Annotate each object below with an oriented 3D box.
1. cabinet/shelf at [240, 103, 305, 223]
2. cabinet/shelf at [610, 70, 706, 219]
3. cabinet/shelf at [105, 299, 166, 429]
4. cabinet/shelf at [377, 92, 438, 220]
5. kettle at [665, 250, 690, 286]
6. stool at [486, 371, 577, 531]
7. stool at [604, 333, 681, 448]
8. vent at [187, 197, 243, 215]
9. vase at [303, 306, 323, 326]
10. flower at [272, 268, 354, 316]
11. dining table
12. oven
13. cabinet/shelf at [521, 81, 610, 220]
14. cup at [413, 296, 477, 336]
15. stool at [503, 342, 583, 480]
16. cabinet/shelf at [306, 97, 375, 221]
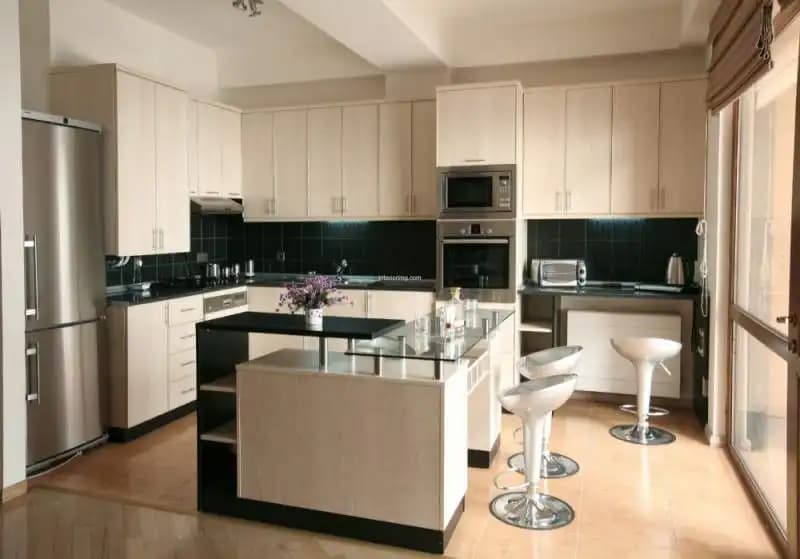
[{"bbox_3d":[-1.367,-1.310,7.202,0.855,1.255,0.460,1,3,18],"label":"cabinet/shelf"},{"bbox_3d":[2.609,-1.316,6.133,0.862,1.338,0.524,4,20,30],"label":"cabinet/shelf"},{"bbox_3d":[-2.356,0.714,5.532,0.287,1.071,0.598,5,14,22],"label":"cabinet/shelf"},{"bbox_3d":[0.075,-1.266,6.519,0.607,1.194,0.307,1,13,7],"label":"cabinet/shelf"},{"bbox_3d":[2.691,-0.093,6.009,0.266,0.361,0.212,2,1,22],"label":"kettle"},{"bbox_3d":[0.960,1.159,4.404,0.595,0.983,0.645,2,14,12],"label":"stool"},{"bbox_3d":[2.172,0.968,5.523,0.674,0.887,0.653,-2,-6,21],"label":"stool"},{"bbox_3d":[-1.980,-0.809,6.648,0.144,0.227,0.720,5,14,21],"label":"vent"},{"bbox_3d":[-0.619,0.269,4.397,0.123,0.091,0.119,1,2,13],"label":"vase"},{"bbox_3d":[-0.691,0.110,4.715,0.551,0.441,0.643,0,-1,0],"label":"flower"},{"bbox_3d":[0.201,1.072,4.230,0.562,0.974,1.595,0,3,16],"label":"dining table"},{"bbox_3d":[0.774,-0.389,6.402,0.851,1.421,0.740,2,-11,-4],"label":"oven"},{"bbox_3d":[1.662,-1.262,6.141,0.820,1.229,0.281,1,13,6],"label":"cabinet/shelf"},{"bbox_3d":[0.347,0.256,4.499,0.242,0.160,0.415,2,5,25],"label":"cup"},{"bbox_3d":[1.017,1.148,4.608,0.522,0.849,0.543,-1,1,-19],"label":"stool"},{"bbox_3d":[-0.625,-1.303,6.763,0.845,1.169,0.230,5,14,24],"label":"cabinet/shelf"}]
